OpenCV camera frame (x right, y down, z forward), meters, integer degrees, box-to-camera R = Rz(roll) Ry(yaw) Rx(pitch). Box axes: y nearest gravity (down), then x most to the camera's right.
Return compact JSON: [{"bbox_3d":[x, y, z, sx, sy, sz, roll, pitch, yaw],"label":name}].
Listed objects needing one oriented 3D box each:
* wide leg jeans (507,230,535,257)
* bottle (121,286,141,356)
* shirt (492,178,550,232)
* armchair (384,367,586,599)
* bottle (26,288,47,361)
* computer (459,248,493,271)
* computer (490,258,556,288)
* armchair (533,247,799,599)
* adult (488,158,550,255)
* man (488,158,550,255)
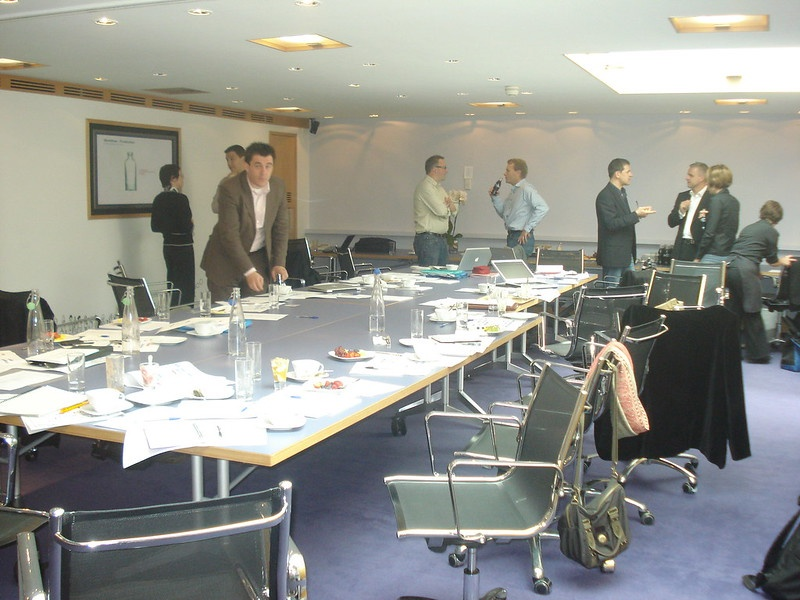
[{"bbox_3d":[1.451,-0.670,7.538,0.301,0.320,0.680,-1,9,10],"label":"wide leg jeans"},{"bbox_3d":[-1.392,0.095,3.253,0.095,0.331,0.260,-7,10,-23],"label":"bottle"},{"bbox_3d":[1.474,-1.130,7.834,0.702,0.692,0.919,5,2,-8],"label":"shirt"},{"bbox_3d":[0.379,0.743,2.833,0.913,1.168,0.850,2,5,-7],"label":"armchair"},{"bbox_3d":[-1.859,0.107,3.226,0.099,0.302,0.362,-8,11,-30],"label":"bottle"},{"bbox_3d":[0.768,-0.449,6.679,0.258,0.228,0.370,28,25,36],"label":"computer"},{"bbox_3d":[1.044,-0.255,5.723,0.379,0.150,0.309,-5,10,-40],"label":"computer"},{"bbox_3d":[1.707,0.514,3.689,1.188,1.770,1.253,3,8,37],"label":"armchair"},{"bbox_3d":[1.476,-1.132,7.663,0.556,1.184,0.949,-3,10,-3],"label":"adult"},{"bbox_3d":[1.476,-1.132,7.668,0.556,1.184,0.957,-3,10,-3],"label":"man"}]
